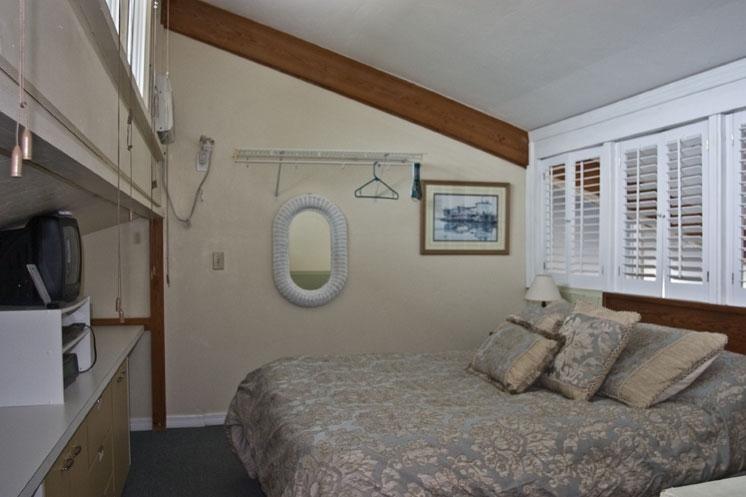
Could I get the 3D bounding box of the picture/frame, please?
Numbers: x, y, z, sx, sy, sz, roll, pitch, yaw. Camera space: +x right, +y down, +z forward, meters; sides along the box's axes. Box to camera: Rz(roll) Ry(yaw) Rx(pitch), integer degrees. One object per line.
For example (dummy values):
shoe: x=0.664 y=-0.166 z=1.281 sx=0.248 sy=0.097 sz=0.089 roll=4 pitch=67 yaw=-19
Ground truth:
picture/frame: x=0.925 y=-0.311 z=5.019 sx=0.936 sy=0.749 sz=0.035 roll=1 pitch=-2 yaw=-4

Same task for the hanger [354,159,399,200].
hanger: x=0.005 y=-0.671 z=4.842 sx=0.385 sy=0.327 sz=0.041 roll=2 pitch=0 yaw=-14

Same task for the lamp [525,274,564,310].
lamp: x=1.566 y=0.378 z=4.609 sx=0.302 sy=0.256 sz=0.302 roll=-8 pitch=9 yaw=-41
